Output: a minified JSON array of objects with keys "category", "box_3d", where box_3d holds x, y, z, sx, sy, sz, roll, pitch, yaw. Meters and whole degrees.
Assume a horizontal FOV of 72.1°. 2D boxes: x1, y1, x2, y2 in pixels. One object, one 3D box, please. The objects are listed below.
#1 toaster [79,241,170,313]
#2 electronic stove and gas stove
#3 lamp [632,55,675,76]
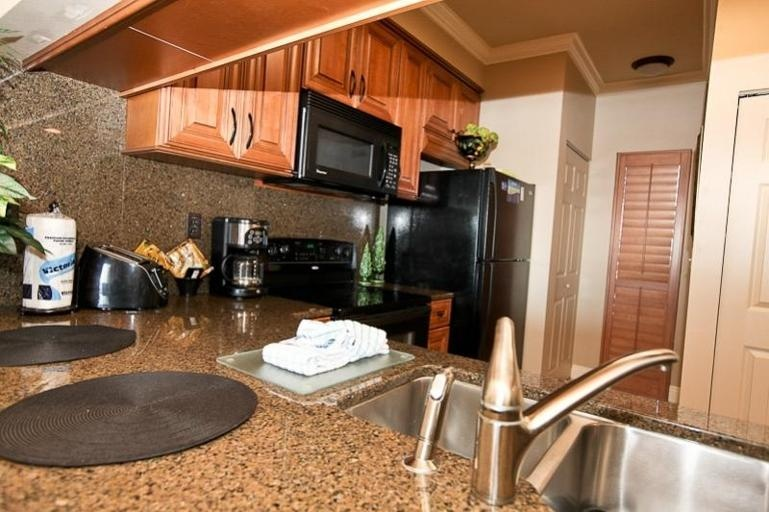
[{"category":"toaster","box_3d":[-1.099,0.066,2.271,0.286,0.264,0.354,7,7,32]},{"category":"electronic stove and gas stove","box_3d":[-0.200,0.222,2.899,0.349,0.086,0.371,-1,3,-43]},{"category":"lamp","box_3d":[2.109,-1.496,4.141,0.318,0.078,0.273,4,1,19]}]
